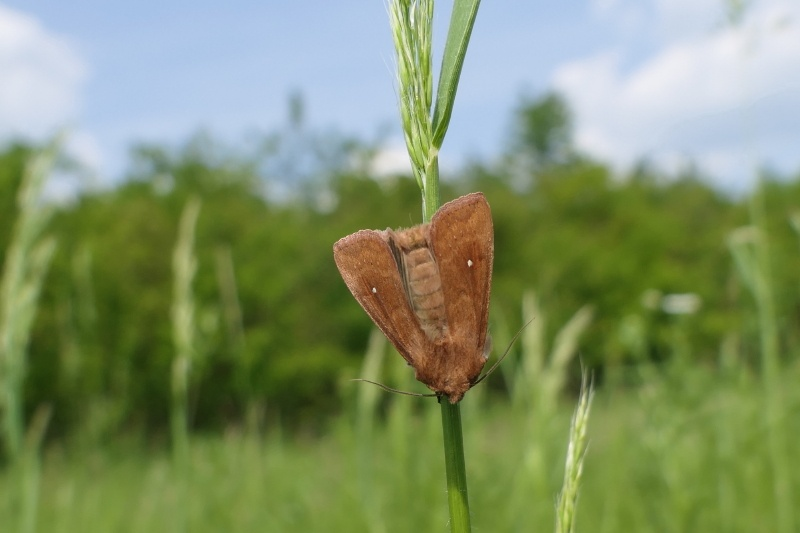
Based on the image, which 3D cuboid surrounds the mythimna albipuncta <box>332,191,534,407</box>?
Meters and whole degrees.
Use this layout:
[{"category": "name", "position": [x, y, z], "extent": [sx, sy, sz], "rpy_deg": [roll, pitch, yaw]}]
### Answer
[{"category": "mythimna albipuncta", "position": [0.055, 0.048, 2.042], "extent": [0.302, 0.108, 0.403], "rpy_deg": [-16, 88, 19]}]
